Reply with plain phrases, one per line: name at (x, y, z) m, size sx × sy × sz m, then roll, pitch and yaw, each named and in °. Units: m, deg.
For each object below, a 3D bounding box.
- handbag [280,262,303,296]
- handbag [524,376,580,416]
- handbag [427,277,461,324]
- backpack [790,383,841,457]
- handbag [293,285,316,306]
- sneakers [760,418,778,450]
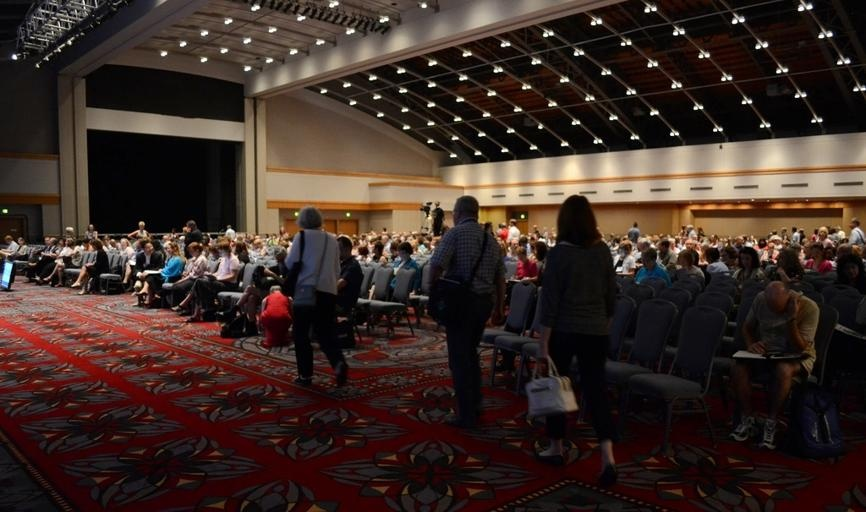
handbag at (-1.913, 0.312, 6.868) m, size 0.156 × 0.420 × 0.306 m, roll 9°, pitch -10°, yaw -19°
handbag at (1.205, 1.330, 5.114) m, size 0.420 × 0.400 × 0.424 m, roll -14°, pitch -10°, yaw 20°
handbag at (0.144, 0.504, 5.860) m, size 0.410 × 0.664 × 0.366 m, roll 8°, pitch 19°, yaw 7°
backpack at (4.126, 1.794, 5.597) m, size 0.507 × 0.713 × 0.276 m, roll 6°, pitch -15°, yaw -1°
handbag at (-1.705, 0.526, 6.785) m, size 0.282 × 0.255 × 0.136 m, roll 0°, pitch -5°, yaw 8°
sneakers at (3.715, 1.977, 5.661) m, size 0.155 × 0.194 × 0.457 m, roll -2°, pitch -5°, yaw 31°
